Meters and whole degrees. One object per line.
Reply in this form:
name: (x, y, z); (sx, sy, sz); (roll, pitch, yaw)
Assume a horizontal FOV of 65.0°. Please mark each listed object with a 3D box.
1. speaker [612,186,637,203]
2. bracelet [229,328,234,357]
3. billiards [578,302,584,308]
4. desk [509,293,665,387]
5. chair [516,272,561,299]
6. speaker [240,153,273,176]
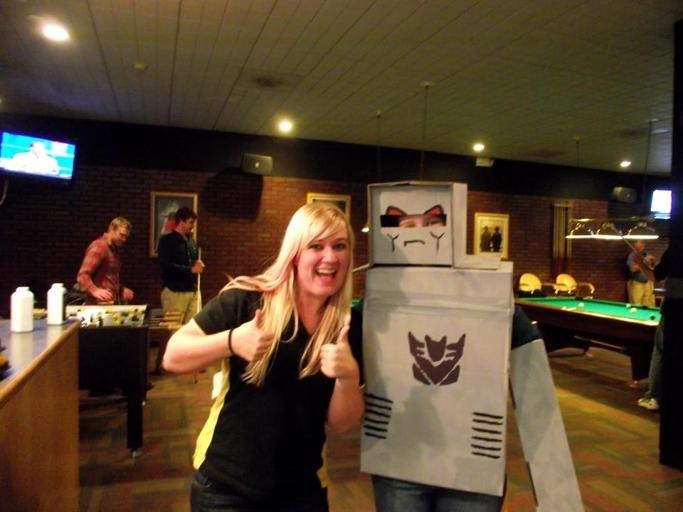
speaker: (5.256, -1.123, 9.904); (0.485, 0.267, 0.337); (4, 4, -26)
bracelet: (-0.487, 0.385, 2.366); (0.024, 0.122, 0.061); (1, 4, -12)
billiards: (3.058, 0.637, 6.848); (0.071, 0.049, 0.087); (1, 4, 33)
desk: (3.085, 1.167, 6.339); (0.923, 0.390, 1.279); (16, -17, 6)
chair: (3.370, 0.559, 9.155); (0.539, 0.705, 0.576); (2, -14, -8)
speaker: (-1.185, -1.284, 7.577); (0.532, 0.354, 0.273); (3, -4, -24)
